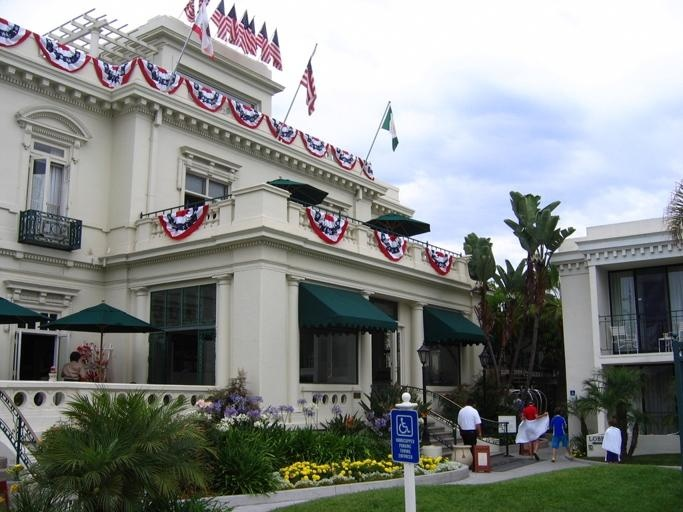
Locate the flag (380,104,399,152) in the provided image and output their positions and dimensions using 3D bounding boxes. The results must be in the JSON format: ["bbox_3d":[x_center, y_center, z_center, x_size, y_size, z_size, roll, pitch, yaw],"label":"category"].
[{"bbox_3d":[2.509,-6.625,35.202,1.111,0.288,2.952,21,-40,20],"label":"flag"}]

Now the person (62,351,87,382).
[{"bbox_3d":[-8.796,3.666,22.870,0.654,1.034,1.967,3,-15,-20],"label":"person"}]

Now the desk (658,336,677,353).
[{"bbox_3d":[12.943,3.554,27.695,0.444,0.689,1.075,-7,-14,21],"label":"desk"}]

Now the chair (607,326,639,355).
[{"bbox_3d":[11.653,3.501,28.790,0.959,1.791,1.089,6,-11,-41],"label":"chair"}]

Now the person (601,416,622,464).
[{"bbox_3d":[9.123,6.265,23.463,0.583,1.459,1.001,-6,-13,19],"label":"person"}]

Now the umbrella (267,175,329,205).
[{"bbox_3d":[-1.669,-2.493,28.539,1.412,1.420,2.477,-8,-15,26],"label":"umbrella"}]
